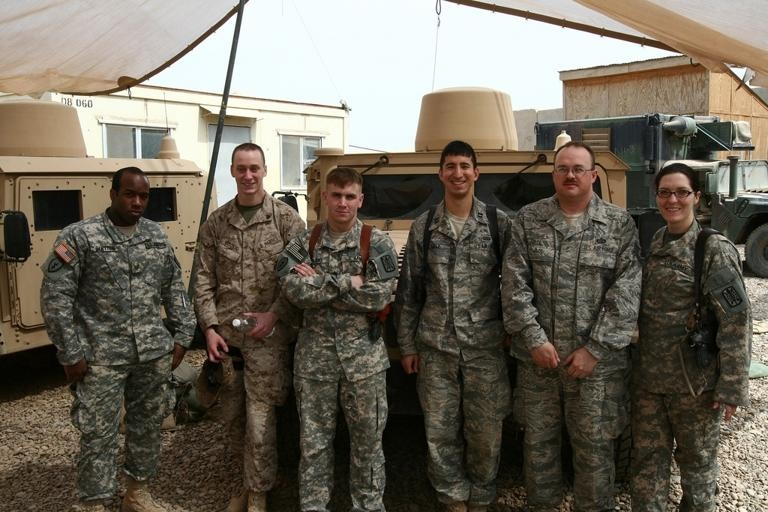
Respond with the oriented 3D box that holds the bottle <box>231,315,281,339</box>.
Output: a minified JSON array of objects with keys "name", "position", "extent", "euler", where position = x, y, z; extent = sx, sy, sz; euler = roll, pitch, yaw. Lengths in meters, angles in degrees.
[{"name":"bottle","position":[-0.987,0.520,5.033],"extent":[0.347,0.158,0.192],"euler":[0,8,2]}]
